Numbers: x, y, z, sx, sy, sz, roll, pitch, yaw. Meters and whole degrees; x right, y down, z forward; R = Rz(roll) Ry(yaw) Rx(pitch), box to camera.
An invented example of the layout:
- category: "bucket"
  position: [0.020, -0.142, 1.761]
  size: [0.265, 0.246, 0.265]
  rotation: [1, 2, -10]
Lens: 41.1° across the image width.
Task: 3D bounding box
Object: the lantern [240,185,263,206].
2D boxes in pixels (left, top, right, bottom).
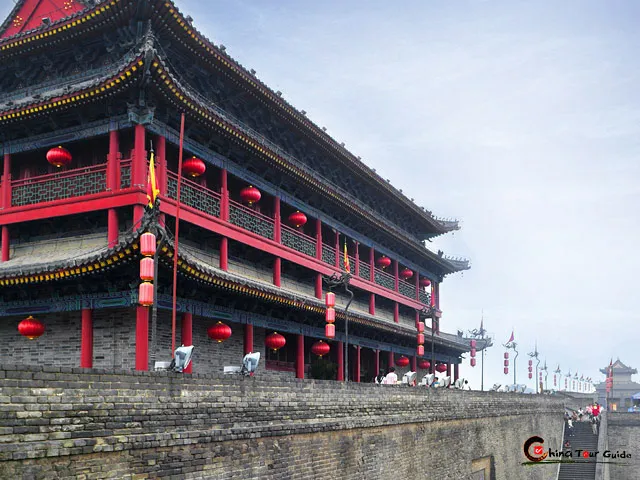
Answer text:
- category: "lantern"
  position: [-2.872, -1.887, 35.528]
  size: [0.684, 0.800, 0.740]
  rotation: [-1, 3, 6]

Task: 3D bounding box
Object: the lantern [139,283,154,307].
- category: "lantern"
  position: [-5.160, 1.588, 25.366]
  size: [0.447, 0.656, 0.411]
  rotation: [5, -16, -12]

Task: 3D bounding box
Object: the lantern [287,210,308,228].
- category: "lantern"
  position: [-0.999, -0.952, 38.527]
  size: [0.718, 0.738, 0.709]
  rotation: [-1, -1, -23]

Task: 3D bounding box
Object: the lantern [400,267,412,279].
- category: "lantern"
  position: [5.047, 1.946, 49.658]
  size: [0.623, 0.715, 0.618]
  rotation: [-1, -1, -15]

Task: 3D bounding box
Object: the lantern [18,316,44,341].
- category: "lantern"
  position: [-9.844, 2.956, 29.013]
  size: [0.810, 0.929, 0.775]
  rotation: [1, 2, 13]

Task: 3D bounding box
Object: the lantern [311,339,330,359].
- category: "lantern"
  position: [0.020, 4.624, 35.980]
  size: [0.743, 0.852, 0.755]
  rotation: [-5, -2, 17]

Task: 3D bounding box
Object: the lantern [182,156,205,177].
- category: "lantern"
  position: [-4.729, -2.752, 32.166]
  size: [0.705, 0.816, 0.719]
  rotation: [4, 5, 30]

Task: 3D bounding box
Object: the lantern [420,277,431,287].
- category: "lantern"
  position: [6.616, 2.687, 53.553]
  size: [0.380, 0.580, 1.162]
  rotation: [-6, -17, 24]

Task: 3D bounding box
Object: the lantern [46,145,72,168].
- category: "lantern"
  position: [-9.740, -3.068, 31.448]
  size: [0.766, 0.840, 0.783]
  rotation: [4, 5, 22]

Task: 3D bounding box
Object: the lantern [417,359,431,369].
- category: "lantern"
  position: [5.729, 6.906, 47.428]
  size: [0.565, 0.419, 0.576]
  rotation: [-6, -8, 28]

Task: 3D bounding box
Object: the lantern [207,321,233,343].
- category: "lantern"
  position: [-3.634, 3.324, 30.761]
  size: [0.743, 0.763, 0.745]
  rotation: [-3, -6, 1]

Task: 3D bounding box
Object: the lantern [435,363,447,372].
- category: "lantern"
  position: [7.286, 7.698, 51.512]
  size: [0.625, 0.547, 0.617]
  rotation: [-2, -7, -18]

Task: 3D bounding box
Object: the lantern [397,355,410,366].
- category: "lantern"
  position: [4.421, 6.531, 45.736]
  size: [0.534, 0.575, 0.576]
  rotation: [3, 8, 36]

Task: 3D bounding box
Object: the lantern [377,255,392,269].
- category: "lantern"
  position: [3.568, 1.219, 47.307]
  size: [0.688, 0.793, 0.689]
  rotation: [-8, -2, -4]

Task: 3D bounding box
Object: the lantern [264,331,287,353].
- category: "lantern"
  position: [-1.750, 4.042, 33.618]
  size: [0.769, 0.811, 0.708]
  rotation: [-1, -4, -5]
